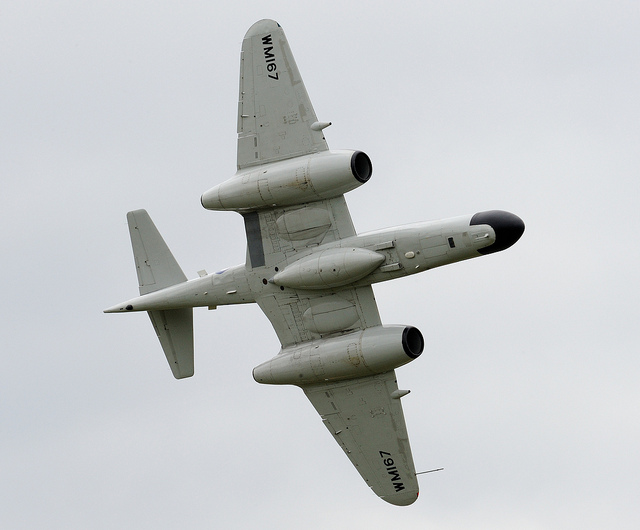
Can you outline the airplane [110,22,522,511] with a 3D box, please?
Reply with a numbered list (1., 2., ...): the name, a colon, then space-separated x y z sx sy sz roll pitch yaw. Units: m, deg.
1. airplane: -0.291 -0.071 16.649 4.070 3.619 4.992 10 -64 -19
